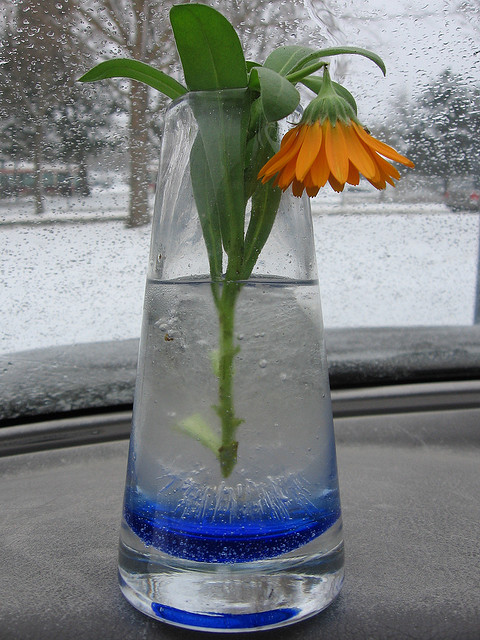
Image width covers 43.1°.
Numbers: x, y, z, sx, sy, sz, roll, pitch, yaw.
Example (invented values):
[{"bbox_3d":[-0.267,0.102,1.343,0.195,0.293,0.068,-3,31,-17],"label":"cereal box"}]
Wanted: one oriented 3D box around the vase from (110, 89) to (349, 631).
[{"bbox_3d":[-0.007,0.020,0.310,0.124,0.266,0.083,1,9,9],"label":"vase"}]
